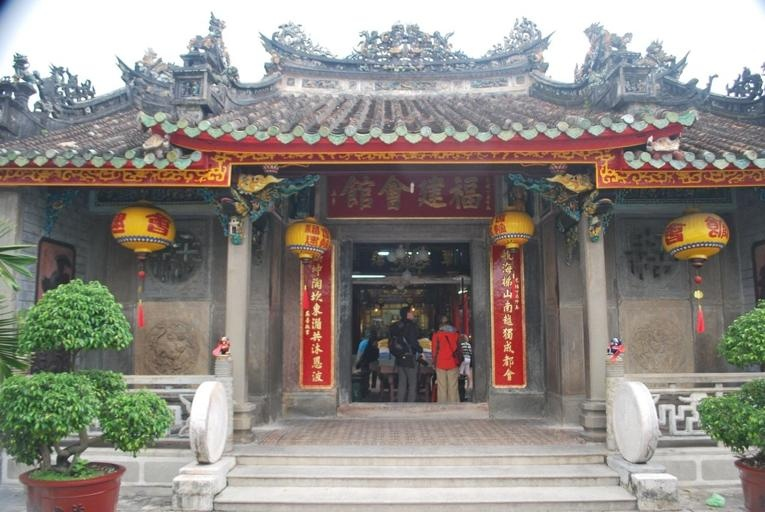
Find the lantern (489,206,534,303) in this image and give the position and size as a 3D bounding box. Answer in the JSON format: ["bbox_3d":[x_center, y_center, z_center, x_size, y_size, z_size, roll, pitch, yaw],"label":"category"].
[{"bbox_3d":[2.099,-0.309,13.823,0.749,0.943,0.706,-5,-15,21],"label":"lantern"}]

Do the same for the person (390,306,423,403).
[{"bbox_3d":[0.420,1.842,16.075,0.607,1.788,0.718,-1,-11,3],"label":"person"}]

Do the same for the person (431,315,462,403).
[{"bbox_3d":[1.145,1.886,15.749,0.483,1.593,0.408,-1,-11,4],"label":"person"}]
